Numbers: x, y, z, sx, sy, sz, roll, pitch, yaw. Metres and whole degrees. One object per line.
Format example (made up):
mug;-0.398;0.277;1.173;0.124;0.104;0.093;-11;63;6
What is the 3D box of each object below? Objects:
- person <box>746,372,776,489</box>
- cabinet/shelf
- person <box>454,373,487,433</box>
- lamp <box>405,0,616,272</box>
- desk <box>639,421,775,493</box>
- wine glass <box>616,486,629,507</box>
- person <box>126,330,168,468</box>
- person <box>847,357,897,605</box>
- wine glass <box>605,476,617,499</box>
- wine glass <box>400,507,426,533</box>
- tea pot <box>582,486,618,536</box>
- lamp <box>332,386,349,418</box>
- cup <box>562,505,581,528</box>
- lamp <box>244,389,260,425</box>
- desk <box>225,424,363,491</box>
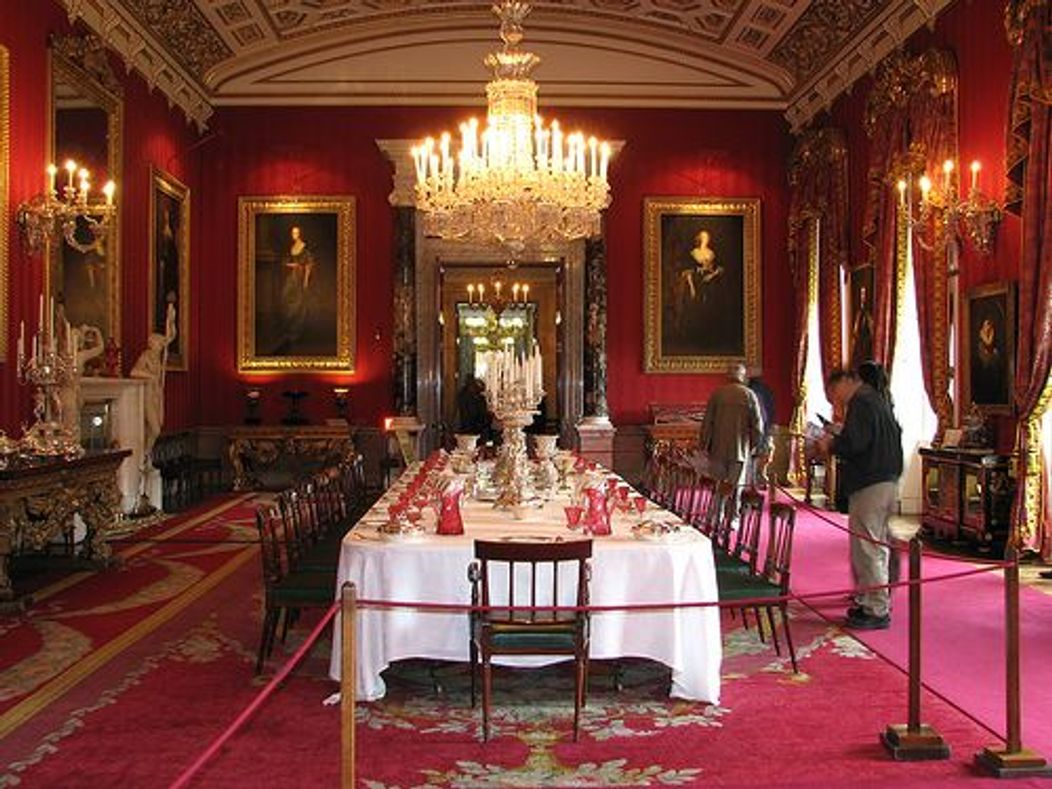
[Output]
person;3.185;0.472;11.478;0.436;1.642;0.432;-2;18;12
cabinet/shelf;4.669;1.049;8.936;0.500;0.940;1.313;0;0;0
person;-0.940;0.174;15.225;0.519;1.114;0.895;-1;5;-4
lamp;-0.235;-2.785;9.492;1.843;2.318;3.329;-1;5;-5
desk;2.812;0.852;12.274;0.833;1.457;2.127;15;-14;-39
wine glass;0.732;0.763;6.326;0.097;0.166;0.106;0;-7;2
person;-4.730;0.015;10.697;0.349;1.566;0.963;-1;5;-5
person;2.615;0.764;6.462;0.484;1.970;0.559;2;5;24
wine glass;0.664;0.751;6.691;0.123;0.182;0.133;1;-3;-4
wine glass;-0.725;0.795;5.370;0.128;0.135;0.134;0;4;4
tea pot;0.459;0.758;5.482;0.288;0.333;0.239;-2;-18;18
lamp;-2.885;0.123;13.114;0.223;0.442;0.402;-1;5;-13
cup;0.293;0.756;5.360;0.132;0.122;0.123;3;8;0
lamp;-4.192;0.178;12.955;0.225;0.492;0.789;-2;5;-19
desk;-3.488;0.921;12.824;1.811;0.962;0.742;-1;2;1
